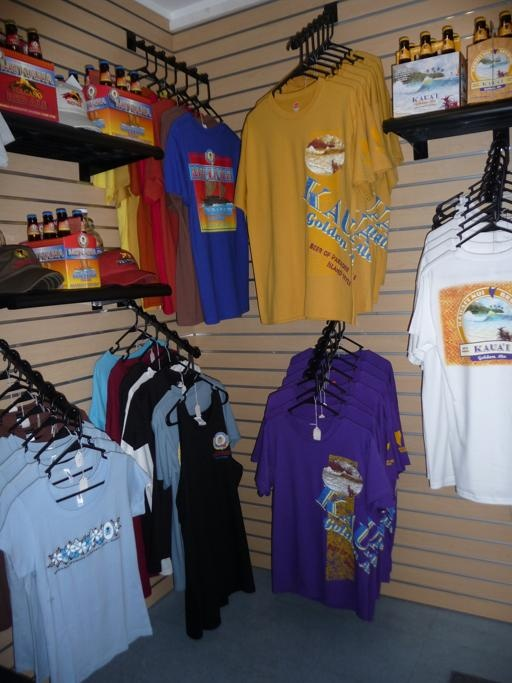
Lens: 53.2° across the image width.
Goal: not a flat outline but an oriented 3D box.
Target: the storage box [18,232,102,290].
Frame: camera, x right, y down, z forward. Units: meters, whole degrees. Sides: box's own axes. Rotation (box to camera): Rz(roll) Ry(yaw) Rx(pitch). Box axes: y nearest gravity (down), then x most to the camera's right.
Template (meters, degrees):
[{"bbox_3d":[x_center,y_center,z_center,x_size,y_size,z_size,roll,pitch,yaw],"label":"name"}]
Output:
[{"bbox_3d":[-0.578,-0.234,1.504,0.156,0.150,0.087,21,35,39],"label":"storage box"}]

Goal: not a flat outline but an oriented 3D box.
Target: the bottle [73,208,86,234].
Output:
[{"bbox_3d":[-0.570,-0.380,1.638,0.043,0.087,0.164,-5,5,-17],"label":"bottle"}]

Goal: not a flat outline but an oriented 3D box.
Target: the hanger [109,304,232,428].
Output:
[{"bbox_3d":[-0.374,0.104,2.163,0.435,0.545,0.314,-7,12,-2],"label":"hanger"}]

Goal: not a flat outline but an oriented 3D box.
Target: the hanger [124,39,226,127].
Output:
[{"bbox_3d":[-0.298,-1.206,2.460,0.227,0.285,0.785,1,5,27],"label":"hanger"}]

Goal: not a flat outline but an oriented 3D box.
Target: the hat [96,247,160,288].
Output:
[{"bbox_3d":[-0.438,-0.253,1.755,0.181,0.093,0.117,-2,11,18],"label":"hat"}]
